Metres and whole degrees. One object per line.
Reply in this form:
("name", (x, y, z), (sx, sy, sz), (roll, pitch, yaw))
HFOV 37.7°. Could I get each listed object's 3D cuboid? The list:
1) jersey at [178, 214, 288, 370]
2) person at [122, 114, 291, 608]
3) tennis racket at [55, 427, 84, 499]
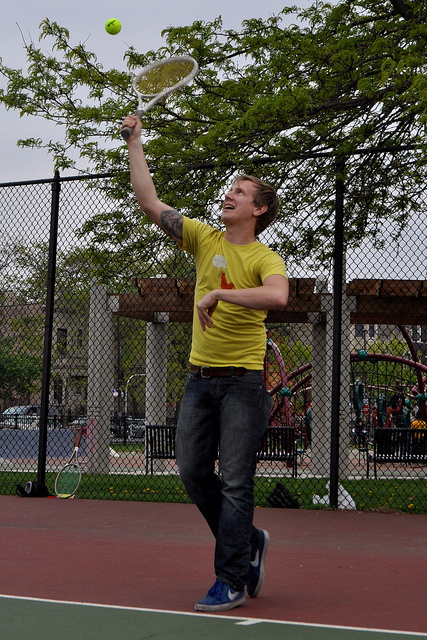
("jersey", (0.074, -0.137, 2.595), (0.488, 0.679, 0.360), (-1, -7, 12))
("person", (-0.027, 0.126, 2.560), (0.627, 2.069, 0.655), (0, -7, -3))
("tennis racket", (-1.781, 1.790, 7.748), (0.300, 0.657, 0.972), (1, -7, -12))
